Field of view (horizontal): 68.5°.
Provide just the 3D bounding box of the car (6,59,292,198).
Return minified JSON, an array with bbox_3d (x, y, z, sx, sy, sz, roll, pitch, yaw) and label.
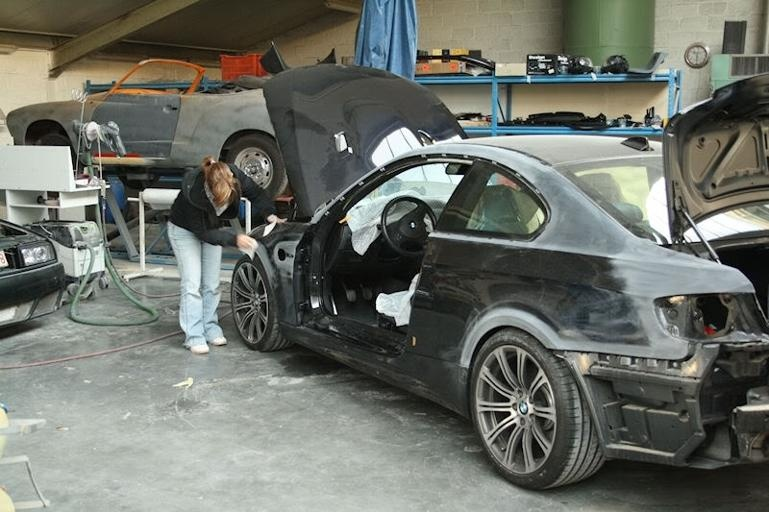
[{"bbox_3d":[-3.647,-2.225,9.622,4.762,1.688,2.589,6,8,16],"label":"car"}]
